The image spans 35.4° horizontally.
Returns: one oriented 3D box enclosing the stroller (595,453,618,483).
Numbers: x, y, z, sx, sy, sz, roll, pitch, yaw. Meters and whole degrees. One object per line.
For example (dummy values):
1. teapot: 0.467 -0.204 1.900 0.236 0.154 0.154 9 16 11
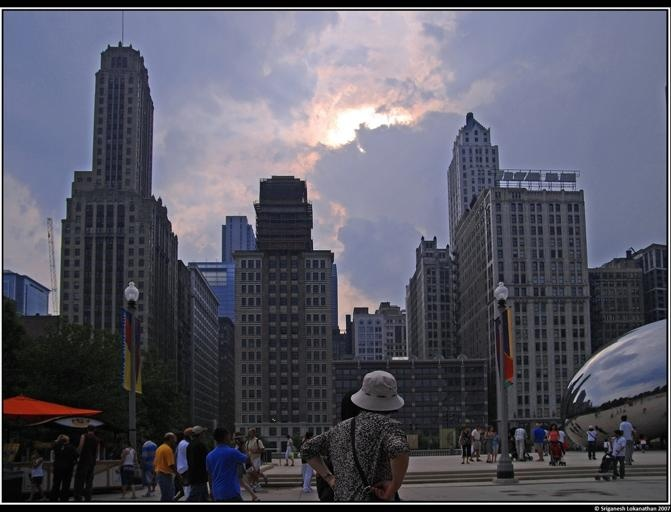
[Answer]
1. stroller: 13.838 10.877 53.854 1.141 1.374 1.596 -7 -17 13
